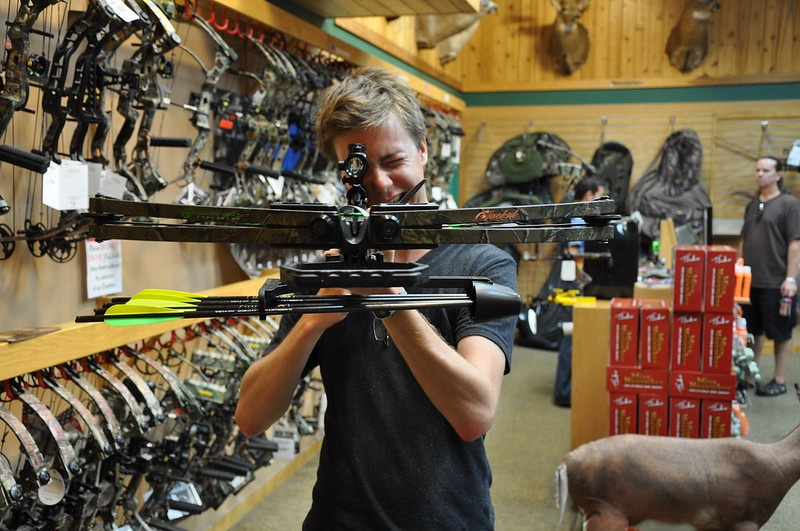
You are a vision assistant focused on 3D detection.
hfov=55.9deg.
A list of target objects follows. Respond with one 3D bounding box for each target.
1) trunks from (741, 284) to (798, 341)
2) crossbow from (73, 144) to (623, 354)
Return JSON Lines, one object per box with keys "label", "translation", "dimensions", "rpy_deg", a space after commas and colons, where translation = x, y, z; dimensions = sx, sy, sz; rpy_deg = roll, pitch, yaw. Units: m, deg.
{"label": "trunks", "translation": [3.226, 0.400, 6.595], "dimensions": [0.341, 0.537, 0.276], "rpy_deg": [9, 25, 32]}
{"label": "crossbow", "translation": [-0.226, -0.062, 3.143], "dimensions": [1.934, 0.877, 0.776], "rpy_deg": [0, -17, -8]}
